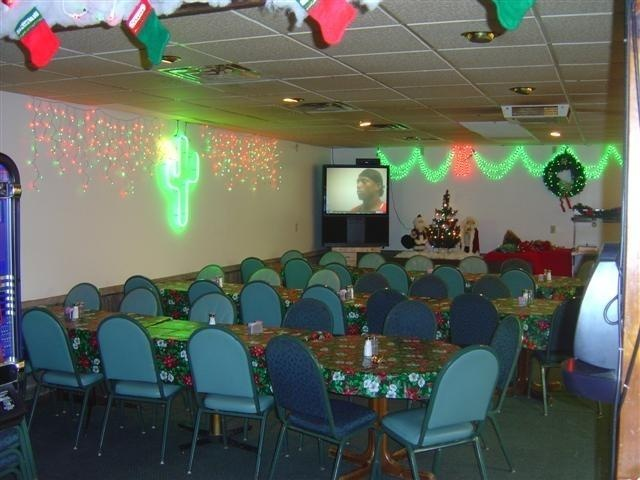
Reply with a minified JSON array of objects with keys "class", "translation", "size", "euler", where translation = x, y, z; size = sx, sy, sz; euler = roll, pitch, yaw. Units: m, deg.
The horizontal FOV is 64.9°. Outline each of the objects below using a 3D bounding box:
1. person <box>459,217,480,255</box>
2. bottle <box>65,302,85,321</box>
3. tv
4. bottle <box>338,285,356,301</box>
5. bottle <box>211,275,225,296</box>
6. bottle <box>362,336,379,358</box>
[{"class":"person","translation":[3.203,-0.102,10.746],"size":[0.376,0.760,0.807],"euler":[2,4,15]},{"class":"bottle","translation":[-2.345,0.677,4.776],"size":[0.165,0.099,0.208],"euler":[0,-1,-28]},{"class":"tv","translation":[0.780,-1.144,11.567],"size":[1.164,0.846,0.045],"euler":[2,-4,-7]},{"class":"bottle","translation":[0.293,0.599,5.799],"size":[0.157,0.272,0.153],"euler":[0,4,0]},{"class":"bottle","translation":[-1.209,0.534,5.922],"size":[0.150,0.271,0.147],"euler":[0,6,0]},{"class":"bottle","translation":[0.371,0.787,3.688],"size":[0.117,0.159,0.067],"euler":[0,9,-16]}]
